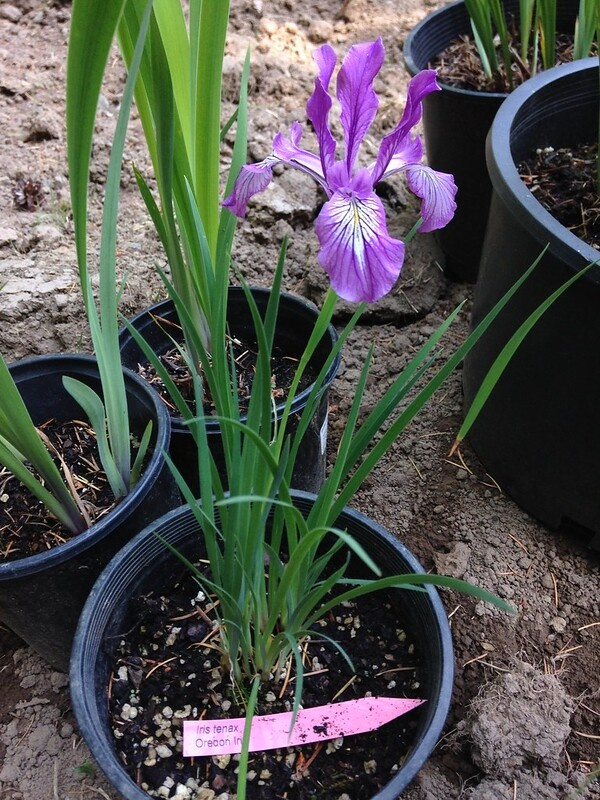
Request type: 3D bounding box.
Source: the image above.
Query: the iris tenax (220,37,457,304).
[{"bbox_3d":[0.035,-0.180,0.806,0.311,0.341,0.209,5,34,-4],"label":"iris tenax"}]

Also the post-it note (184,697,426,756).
[{"bbox_3d":[0.001,0.428,0.942,0.308,0.056,0.013,-10,12,1],"label":"post-it note"}]
